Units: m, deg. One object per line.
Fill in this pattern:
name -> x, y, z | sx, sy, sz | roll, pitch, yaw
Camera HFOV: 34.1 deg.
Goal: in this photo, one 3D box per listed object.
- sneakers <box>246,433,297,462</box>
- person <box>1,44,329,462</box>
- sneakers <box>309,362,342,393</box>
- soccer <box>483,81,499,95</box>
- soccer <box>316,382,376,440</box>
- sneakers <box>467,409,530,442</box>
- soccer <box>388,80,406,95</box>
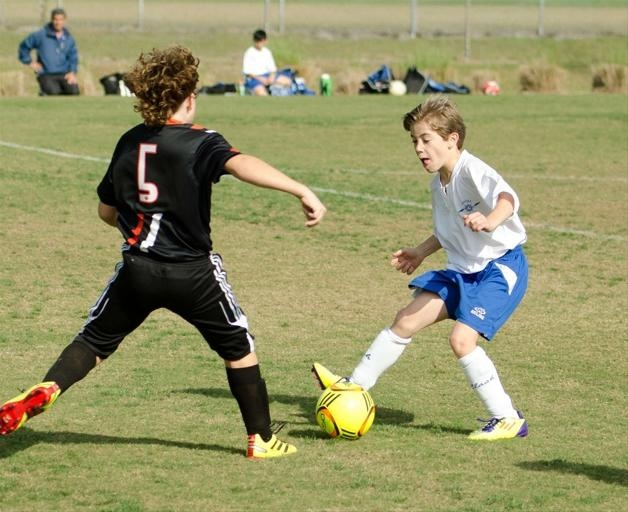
sneakers -> -0.242, 1.052, 5.600 | 0.332, 0.117, 0.101 | -1, 3, -27
person -> -0.770, 0.022, 5.461 | 1.533, 2.247, 0.496 | -2, 11, -7
sneakers -> 0.063, 0.729, 6.182 | 0.184, 0.148, 0.068 | 39, -5, -4
soccer -> 3.478, -3.257, 19.820 | 0.365, 0.271, 0.250 | 2, 19, 21
soccer -> 0.195, 0.894, 5.898 | 0.355, 0.292, 0.319 | -1, -5, 26
sneakers -> 1.091, 1.007, 5.979 | 0.401, 0.139, 0.131 | -2, -3, -1
soccer -> 1.569, -3.158, 19.236 | 0.283, 0.214, 0.229 | 21, -43, -24
